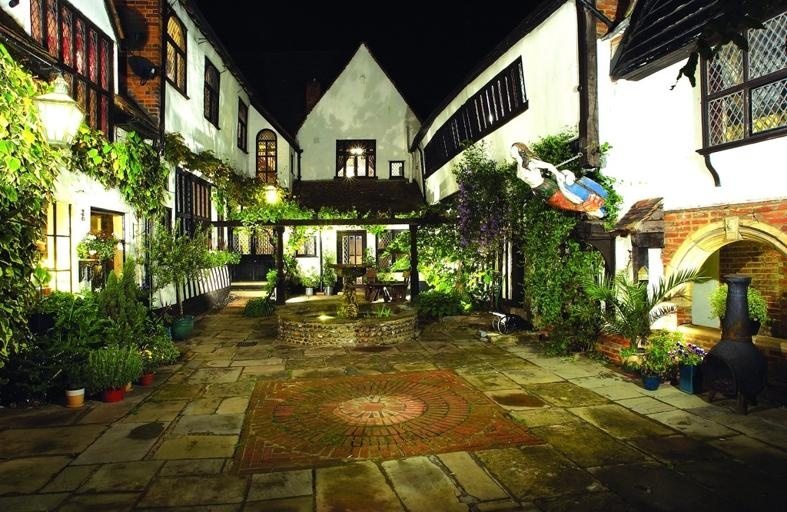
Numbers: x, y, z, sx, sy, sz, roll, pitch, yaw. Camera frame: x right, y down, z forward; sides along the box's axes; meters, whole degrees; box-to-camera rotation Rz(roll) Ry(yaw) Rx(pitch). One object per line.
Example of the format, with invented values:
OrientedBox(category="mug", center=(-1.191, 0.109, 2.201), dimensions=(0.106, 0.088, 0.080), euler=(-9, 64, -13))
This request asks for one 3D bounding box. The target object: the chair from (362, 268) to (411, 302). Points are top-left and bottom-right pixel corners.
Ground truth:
OrientedBox(category="chair", center=(-0.313, 1.075, 17.843), dimensions=(1.262, 0.879, 1.203), euler=(1, -6, -8))

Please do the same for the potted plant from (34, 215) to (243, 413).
OrientedBox(category="potted plant", center=(-5.033, 1.276, 9.881), dimensions=(2.569, 1.839, 2.647), euler=(-1, 2, 19))

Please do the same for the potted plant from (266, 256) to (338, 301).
OrientedBox(category="potted plant", center=(-3.313, 0.784, 19.264), dimensions=(1.791, 1.198, 2.424), euler=(0, 3, 19))

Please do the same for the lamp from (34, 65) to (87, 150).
OrientedBox(category="lamp", center=(-4.812, -2.077, 7.619), dimensions=(0.743, 1.020, 0.726), euler=(5, 3, -4))

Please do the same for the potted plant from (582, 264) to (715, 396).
OrientedBox(category="potted plant", center=(4.460, 1.093, 9.689), dimensions=(1.845, 1.880, 1.773), euler=(6, 12, 24))
